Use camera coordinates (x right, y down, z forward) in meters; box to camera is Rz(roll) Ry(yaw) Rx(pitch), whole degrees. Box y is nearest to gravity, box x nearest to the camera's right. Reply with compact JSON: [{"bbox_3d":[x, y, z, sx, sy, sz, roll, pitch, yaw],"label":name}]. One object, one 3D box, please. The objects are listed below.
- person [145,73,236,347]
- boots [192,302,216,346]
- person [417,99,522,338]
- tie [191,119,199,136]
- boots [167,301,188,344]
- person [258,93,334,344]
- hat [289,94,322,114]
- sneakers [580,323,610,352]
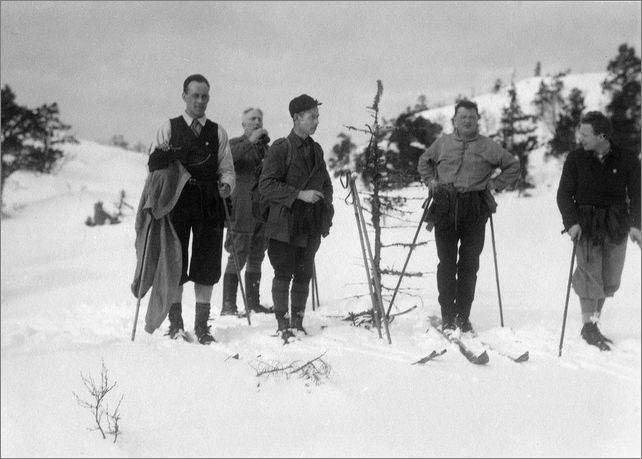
[{"bbox_3d":[-1.356,-0.249,7.990,0.820,2.733,0.428,0,7,-9],"label":"person"},{"bbox_3d":[-1.282,0.993,8.058,0.187,0.462,0.435,11,4,-24],"label":"boots"},{"bbox_3d":[1.610,-0.165,8.561,1.044,2.579,0.580,2,7,7],"label":"person"},{"bbox_3d":[-1.335,-1.086,7.982,0.101,0.168,0.050,-1,8,-20],"label":"tie"},{"bbox_3d":[-1.608,0.970,8.145,0.173,0.406,0.359,-10,10,-37],"label":"boots"},{"bbox_3d":[-0.284,-0.161,8.303,0.827,2.620,0.577,0,7,-8],"label":"person"},{"bbox_3d":[-0.191,-1.344,8.217,0.251,0.150,0.201,-24,9,18],"label":"hat"},{"bbox_3d":[3.025,1.147,8.282,0.314,0.253,0.217,5,9,22],"label":"sneakers"}]
